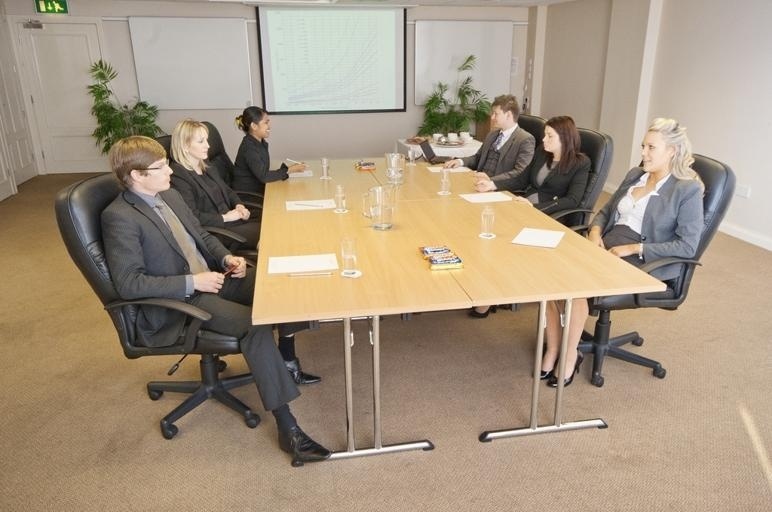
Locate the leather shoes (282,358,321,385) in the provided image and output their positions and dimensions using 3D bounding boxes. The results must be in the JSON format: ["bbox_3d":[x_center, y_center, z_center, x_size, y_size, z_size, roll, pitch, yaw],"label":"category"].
[{"bbox_3d":[-0.548,0.839,3.995,0.367,0.156,0.124,1,17,-4],"label":"leather shoes"}]

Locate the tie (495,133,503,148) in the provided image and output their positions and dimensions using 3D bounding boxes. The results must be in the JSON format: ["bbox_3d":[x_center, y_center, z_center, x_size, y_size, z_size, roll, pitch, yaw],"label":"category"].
[{"bbox_3d":[1.160,-1.202,5.734,0.041,0.121,0.081,18,24,36],"label":"tie"}]

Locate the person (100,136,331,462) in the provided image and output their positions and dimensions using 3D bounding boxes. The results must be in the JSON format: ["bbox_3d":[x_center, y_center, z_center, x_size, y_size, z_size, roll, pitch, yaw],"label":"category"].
[{"bbox_3d":[-1.090,0.277,3.816,1.648,1.912,0.965,11,20,-4],"label":"person"}]

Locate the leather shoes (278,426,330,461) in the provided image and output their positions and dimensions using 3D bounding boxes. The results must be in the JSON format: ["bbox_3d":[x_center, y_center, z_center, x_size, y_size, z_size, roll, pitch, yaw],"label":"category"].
[{"bbox_3d":[-0.518,1.155,3.479,0.331,0.136,0.174,11,18,36],"label":"leather shoes"}]

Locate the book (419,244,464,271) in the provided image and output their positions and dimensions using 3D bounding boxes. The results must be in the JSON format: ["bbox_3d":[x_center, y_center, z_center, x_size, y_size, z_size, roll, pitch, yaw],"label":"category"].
[{"bbox_3d":[0.368,-0.002,3.563,0.240,0.062,0.336,-5,23,-8],"label":"book"}]

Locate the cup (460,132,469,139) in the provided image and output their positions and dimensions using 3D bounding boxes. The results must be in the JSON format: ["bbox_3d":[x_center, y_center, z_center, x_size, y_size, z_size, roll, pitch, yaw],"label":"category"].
[{"bbox_3d":[1.098,-1.665,7.660,0.113,0.075,0.108,-1,11,0],"label":"cup"}]

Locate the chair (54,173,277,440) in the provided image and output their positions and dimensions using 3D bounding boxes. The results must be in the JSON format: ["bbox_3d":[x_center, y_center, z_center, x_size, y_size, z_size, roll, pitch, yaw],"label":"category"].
[{"bbox_3d":[-1.404,0.337,3.562,1.030,1.621,0.623,11,28,26],"label":"chair"}]

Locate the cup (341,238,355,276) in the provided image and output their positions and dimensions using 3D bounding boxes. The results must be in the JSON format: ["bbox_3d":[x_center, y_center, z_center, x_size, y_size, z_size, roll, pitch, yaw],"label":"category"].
[{"bbox_3d":[-0.227,0.005,3.402,0.088,0.206,0.156,-4,24,-3],"label":"cup"}]

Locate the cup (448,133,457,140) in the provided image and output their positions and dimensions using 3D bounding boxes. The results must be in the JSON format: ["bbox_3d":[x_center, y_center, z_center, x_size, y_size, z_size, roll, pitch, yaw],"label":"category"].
[{"bbox_3d":[0.901,-1.622,7.575,0.124,0.097,0.130,-3,13,1],"label":"cup"}]

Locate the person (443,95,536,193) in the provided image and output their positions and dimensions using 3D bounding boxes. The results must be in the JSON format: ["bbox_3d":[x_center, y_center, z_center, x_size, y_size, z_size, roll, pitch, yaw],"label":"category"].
[{"bbox_3d":[1.089,-0.980,5.751,0.726,1.259,0.772,-17,32,-23],"label":"person"}]

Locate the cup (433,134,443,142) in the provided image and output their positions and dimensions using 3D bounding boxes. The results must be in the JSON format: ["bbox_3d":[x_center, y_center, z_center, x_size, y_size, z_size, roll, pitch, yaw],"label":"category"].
[{"bbox_3d":[0.743,-1.666,7.746,0.156,0.104,0.150,-1,8,0],"label":"cup"}]

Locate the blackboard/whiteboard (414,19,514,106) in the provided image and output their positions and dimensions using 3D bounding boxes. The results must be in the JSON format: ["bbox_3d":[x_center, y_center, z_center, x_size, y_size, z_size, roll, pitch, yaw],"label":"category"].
[{"bbox_3d":[1.297,-3.306,9.390,1.666,1.313,0.191,-6,25,-8],"label":"blackboard/whiteboard"}]

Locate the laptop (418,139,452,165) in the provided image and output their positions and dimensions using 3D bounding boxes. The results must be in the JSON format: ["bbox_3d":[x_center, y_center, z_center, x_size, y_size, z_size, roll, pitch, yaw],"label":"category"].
[{"bbox_3d":[0.520,-1.132,6.189,0.212,0.287,0.341,-17,7,14],"label":"laptop"}]
